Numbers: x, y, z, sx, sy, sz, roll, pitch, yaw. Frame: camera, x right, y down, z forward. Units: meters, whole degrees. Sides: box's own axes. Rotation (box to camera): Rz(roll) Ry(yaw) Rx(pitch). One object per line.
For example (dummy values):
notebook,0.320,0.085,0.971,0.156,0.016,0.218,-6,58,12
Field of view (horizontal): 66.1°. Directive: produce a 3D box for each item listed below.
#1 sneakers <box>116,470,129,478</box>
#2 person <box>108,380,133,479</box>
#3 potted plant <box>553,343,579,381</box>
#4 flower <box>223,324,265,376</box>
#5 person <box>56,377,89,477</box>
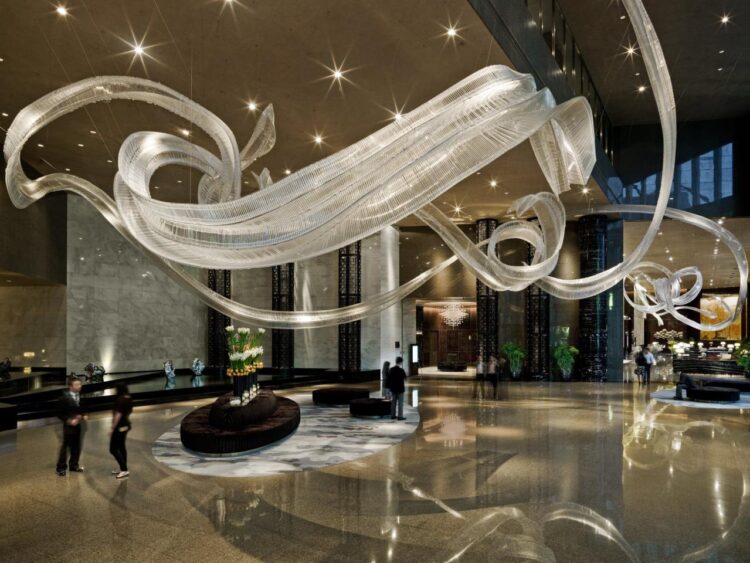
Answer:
sneakers,-4.431,3.514,10.064,0.254,0.116,0.095,6,-7,-15
person,-4.671,2.804,10.584,0.331,1.613,1.313,3,-7,-24
potted plant,8.321,3.765,25.226,0.935,1.628,0.760,1,-7,-12
flower,-3.009,1.710,13.153,0.800,1.098,1.339,2,-7,-16
person,-5.486,2.706,10.427,0.445,1.750,0.713,4,-8,-28
